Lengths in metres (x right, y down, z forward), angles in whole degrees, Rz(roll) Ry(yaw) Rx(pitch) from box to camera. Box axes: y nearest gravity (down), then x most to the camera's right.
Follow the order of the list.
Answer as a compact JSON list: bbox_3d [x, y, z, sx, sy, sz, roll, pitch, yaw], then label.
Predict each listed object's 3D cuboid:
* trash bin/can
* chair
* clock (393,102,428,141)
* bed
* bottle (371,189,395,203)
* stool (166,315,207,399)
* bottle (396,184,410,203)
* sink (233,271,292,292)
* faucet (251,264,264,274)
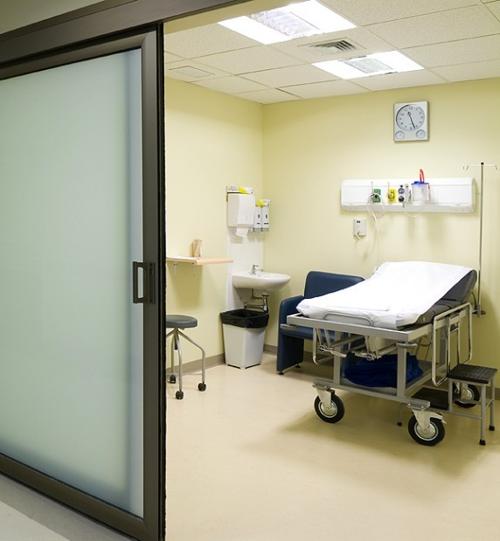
[{"bbox_3d":[-0.075,0.676,4.651,0.358,0.527,0.405,-2,4,-42],"label":"trash bin/can"},{"bbox_3d":[0.633,0.522,4.365,0.639,0.974,0.569,11,13,36],"label":"chair"},{"bbox_3d":[1.378,-1.279,4.022,0.335,0.415,0.066,1,1,44],"label":"clock"},{"bbox_3d":[1.018,0.522,3.392,0.856,1.085,1.383,3,10,37],"label":"bed"},{"bbox_3d":[1.160,-0.649,4.135,0.177,0.140,0.104,0,4,25],"label":"bottle"},{"bbox_3d":[-0.604,0.701,3.865,0.336,0.618,0.361,0,0,26],"label":"stool"},{"bbox_3d":[1.312,-0.658,4.048,0.107,0.163,0.044,3,4,34],"label":"bottle"},{"bbox_3d":[0.085,0.108,4.641,0.321,0.136,0.279,3,6,36],"label":"sink"},{"bbox_3d":[0.071,-0.009,4.966,0.117,0.117,0.072,2,5,31],"label":"faucet"}]
